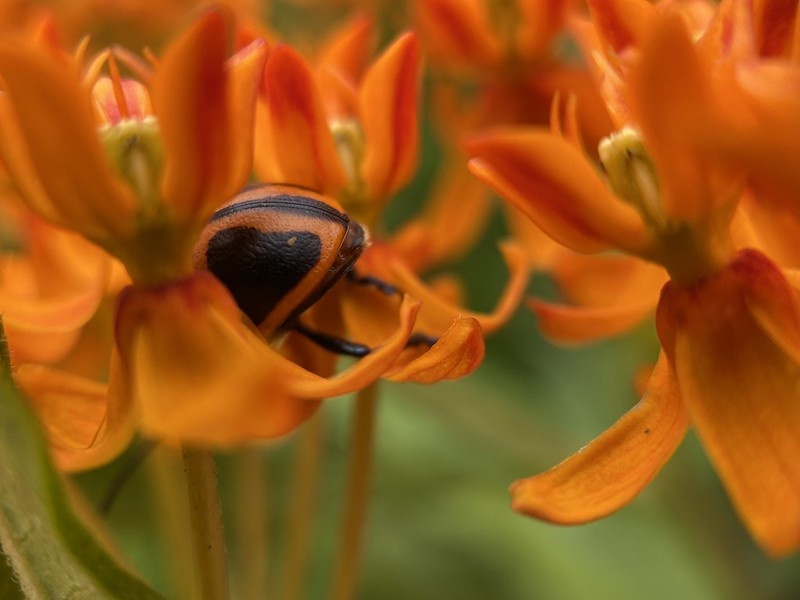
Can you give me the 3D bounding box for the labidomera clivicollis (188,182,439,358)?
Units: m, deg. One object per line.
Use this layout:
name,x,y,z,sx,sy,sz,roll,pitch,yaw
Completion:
labidomera clivicollis,-0.044,-0.017,0.496,0.095,0.056,0.101,3,47,-22
